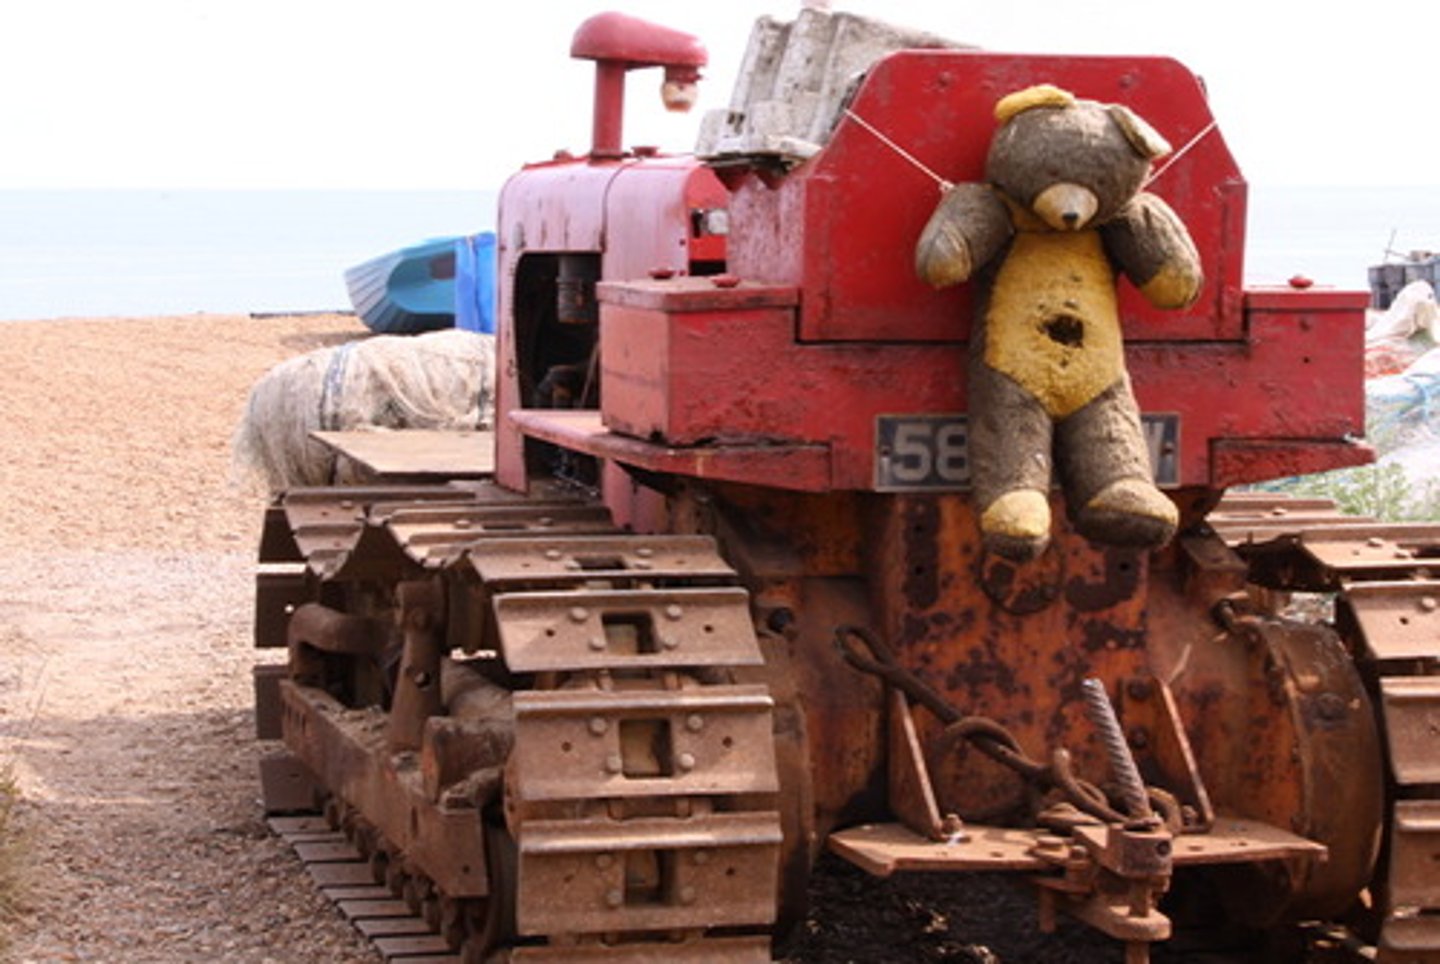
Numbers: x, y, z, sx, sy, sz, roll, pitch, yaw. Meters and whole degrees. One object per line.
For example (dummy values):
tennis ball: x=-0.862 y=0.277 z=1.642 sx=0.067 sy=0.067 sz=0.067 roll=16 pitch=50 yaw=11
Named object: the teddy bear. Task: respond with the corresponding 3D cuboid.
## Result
teddy bear: x=1.105 y=-0.538 z=5.100 sx=0.912 sy=1.552 sz=0.644 roll=2 pitch=8 yaw=10
